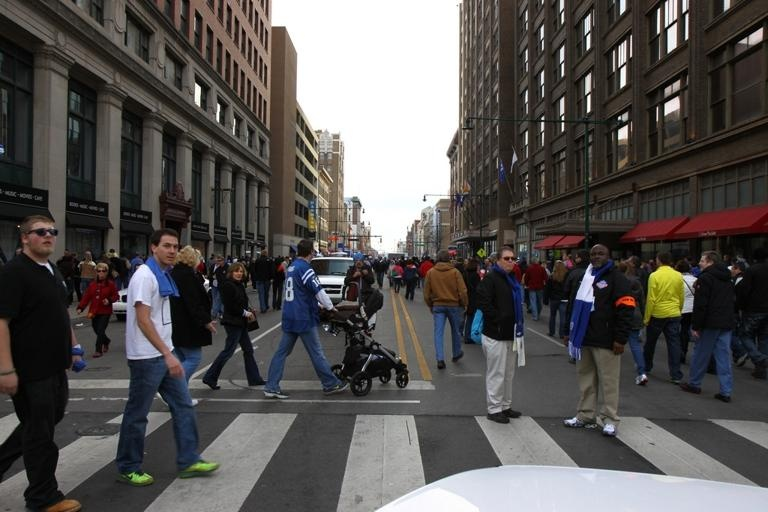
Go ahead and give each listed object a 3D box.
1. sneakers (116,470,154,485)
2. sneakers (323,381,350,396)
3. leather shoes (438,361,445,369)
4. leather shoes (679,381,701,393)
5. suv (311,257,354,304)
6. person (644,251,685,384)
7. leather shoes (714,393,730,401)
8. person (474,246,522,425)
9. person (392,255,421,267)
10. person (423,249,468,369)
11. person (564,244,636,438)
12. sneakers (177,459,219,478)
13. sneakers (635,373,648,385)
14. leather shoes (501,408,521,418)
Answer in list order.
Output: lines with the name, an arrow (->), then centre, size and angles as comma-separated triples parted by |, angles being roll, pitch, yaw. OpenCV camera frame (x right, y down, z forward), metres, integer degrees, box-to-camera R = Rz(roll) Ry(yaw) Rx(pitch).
sneakers -> -3.753, 3.383, 9.953 | 0.476, 0.254, 0.210 | 2, -1, -2
sneakers -> -0.974, 2.683, 13.284 | 0.506, 0.247, 0.198 | -21, 17, -11
leather shoes -> 1.326, 2.522, 15.286 | 0.195, 0.200, 0.341 | 1, 11, 4
leather shoes -> 6.343, 2.737, 13.674 | 0.366, 0.177, 0.187 | 14, 6, 38
suv -> -1.928, 0.700, 23.503 | 1.089, 1.114, 2.131 | 0, -3, 1
person -> 6.220, 1.385, 14.541 | 0.863, 2.814, 0.805 | 7, 13, 33
leather shoes -> 6.782, 2.827, 13.251 | 0.100, 0.145, 0.306 | -6, 11, -20
person -> 2.129, 1.421, 12.111 | 0.833, 3.004, 1.253 | 2, 11, 8
person -> 1.432, 0.306, 46.656 | 1.353, 0.930, 1.914 | 1, -3, -9
person -> 1.435, 1.288, 15.754 | 0.957, 2.811, 1.362 | 7, 12, 31
person -> 3.871, 1.462, 11.905 | 0.897, 3.354, 1.196 | 7, -6, -45
sneakers -> -2.862, 3.312, 10.187 | 0.586, 0.309, 0.247 | -5, 3, -10
sneakers -> 5.557, 2.683, 14.257 | 0.136, 0.170, 0.347 | -1, -1, 7
leather shoes -> 2.347, 2.894, 12.125 | 0.361, 0.179, 0.153 | 0, 3, -11
